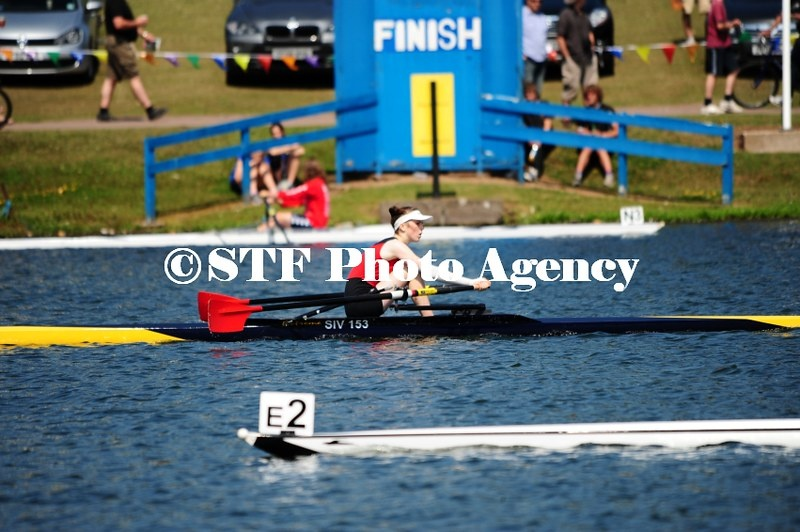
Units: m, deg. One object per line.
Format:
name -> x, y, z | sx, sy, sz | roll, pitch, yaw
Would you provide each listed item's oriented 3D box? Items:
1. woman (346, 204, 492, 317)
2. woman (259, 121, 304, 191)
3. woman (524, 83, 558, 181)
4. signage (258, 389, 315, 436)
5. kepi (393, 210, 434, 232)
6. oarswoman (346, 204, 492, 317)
woman -> 0.065, -0.053, 28.485 | 1.847, 1.656, 0.418 | -5, 8, -4
woman -> -2.209, -1.935, 34.925 | 0.755, 1.391, 0.812 | -6, -4, -22
woman -> 2.702, -2.504, 35.558 | 0.584, 1.763, 0.537 | 2, 15, 5
signage -> -1.552, 2.017, 26.032 | 0.612, 0.453, 0.086 | 0, 1, -1
kepi -> 0.216, -0.713, 28.478 | 0.496, 0.153, 0.297 | -16, -2, 9
oarswoman -> 0.235, -0.211, 29.289 | 2.256, 2.040, 1.366 | -4, 14, -9
